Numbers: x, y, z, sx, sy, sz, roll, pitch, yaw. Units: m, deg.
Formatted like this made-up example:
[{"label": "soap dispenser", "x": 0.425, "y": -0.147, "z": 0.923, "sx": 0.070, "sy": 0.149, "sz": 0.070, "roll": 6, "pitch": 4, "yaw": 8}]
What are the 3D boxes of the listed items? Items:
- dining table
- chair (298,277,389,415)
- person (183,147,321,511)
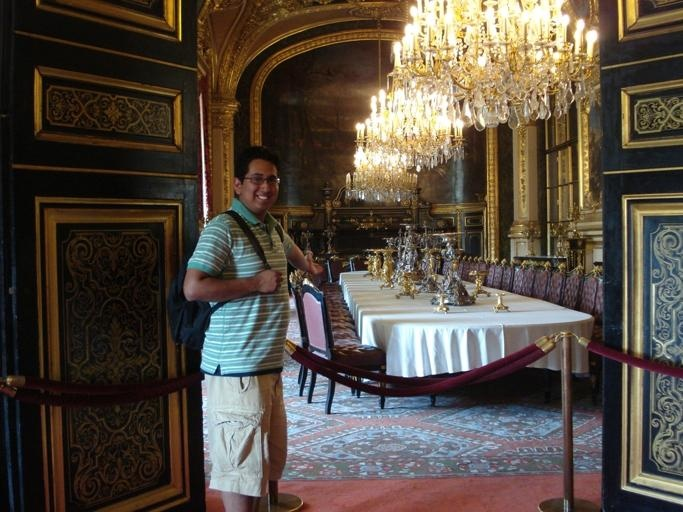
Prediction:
[{"label": "dining table", "x": 0.931, "y": 0.626, "z": 5.376, "sx": 1.621, "sy": 0.459, "sz": 1.964, "roll": -2, "pitch": 4, "yaw": -10}, {"label": "chair", "x": 0.013, "y": 0.737, "z": 5.018, "sx": 0.355, "sy": 0.659, "sz": 1.046, "roll": -2, "pitch": 2, "yaw": -11}, {"label": "person", "x": -0.471, "y": 0.386, "z": 3.004, "sx": 0.455, "sy": 1.805, "sz": 0.547, "roll": -2, "pitch": 4, "yaw": -6}]
